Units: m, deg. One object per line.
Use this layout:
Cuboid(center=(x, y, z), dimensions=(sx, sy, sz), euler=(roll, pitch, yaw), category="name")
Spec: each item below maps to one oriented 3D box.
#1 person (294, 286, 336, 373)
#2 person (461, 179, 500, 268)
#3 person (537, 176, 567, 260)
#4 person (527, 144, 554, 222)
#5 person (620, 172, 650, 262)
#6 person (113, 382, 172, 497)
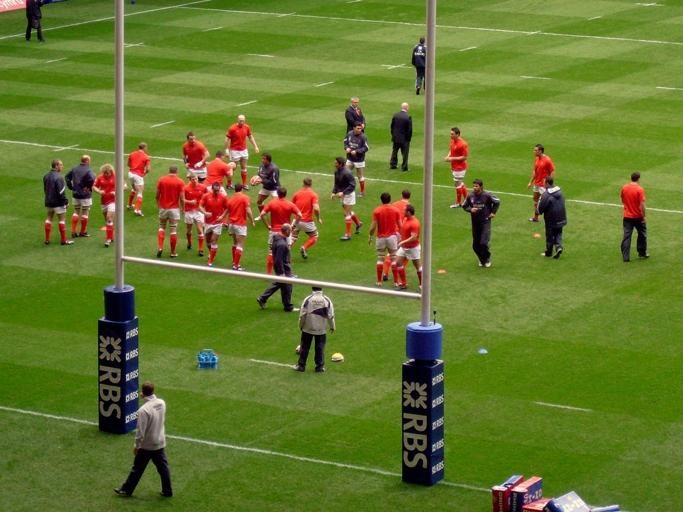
Cuboid(center=(-0.489, 1.417, 32.599), dimensions=(1.016, 1.649, 0.752), euler=(2, 16, -9), category="person")
Cuboid(center=(3.262, -0.748, 37.475), dimensions=(0.744, 1.963, 0.828), euler=(-4, 13, -13), category="person")
Cuboid(center=(4.963, -0.900, 37.986), dimensions=(0.816, 1.756, 0.633), euler=(12, 23, 24), category="person")
Cuboid(center=(4.903, -1.858, 40.378), dimensions=(0.628, 1.879, 0.760), euler=(9, 28, 6), category="person")
Cuboid(center=(6.862, -0.928, 37.885), dimensions=(0.920, 1.950, 0.758), euler=(-3, 5, -21), category="person")
Cuboid(center=(-3.582, 3.150, 28.898), dimensions=(0.788, 2.234, 1.063), euler=(6, 10, 27), category="person")
